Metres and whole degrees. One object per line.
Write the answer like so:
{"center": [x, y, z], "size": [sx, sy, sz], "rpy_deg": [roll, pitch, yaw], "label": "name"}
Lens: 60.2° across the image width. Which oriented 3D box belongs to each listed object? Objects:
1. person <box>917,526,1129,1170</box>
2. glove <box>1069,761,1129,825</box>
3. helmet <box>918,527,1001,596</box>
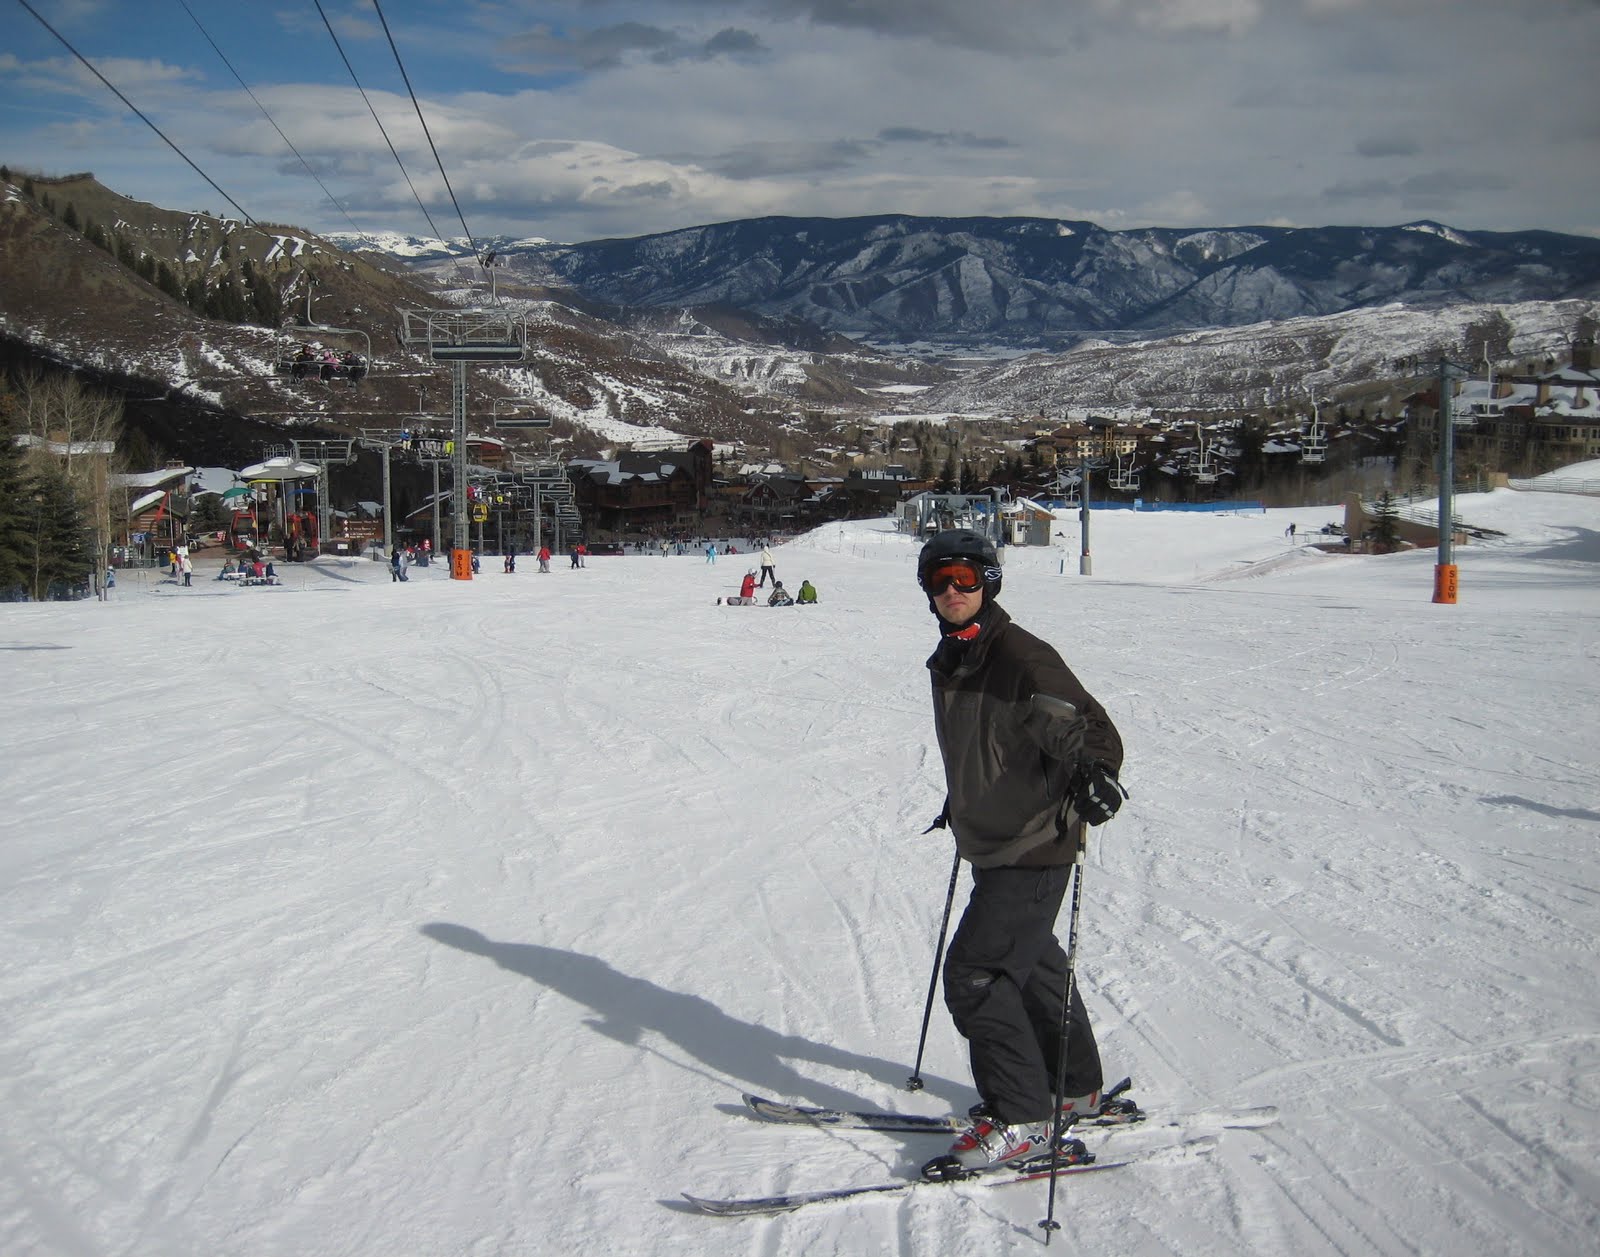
{"center": [0.958, 0.976, 5.941], "size": [0.778, 2.824, 0.445], "rpy_deg": [-2, 6, 9], "label": "person"}
{"center": [1.255, 0.676, 5.757], "size": [0.101, 0.205, 0.258], "rpy_deg": [-12, 7, -38], "label": "glove"}
{"center": [0.682, -0.309, 5.909], "size": [0.254, 0.345, 0.258], "rpy_deg": [-3, 2, 12], "label": "helmet"}
